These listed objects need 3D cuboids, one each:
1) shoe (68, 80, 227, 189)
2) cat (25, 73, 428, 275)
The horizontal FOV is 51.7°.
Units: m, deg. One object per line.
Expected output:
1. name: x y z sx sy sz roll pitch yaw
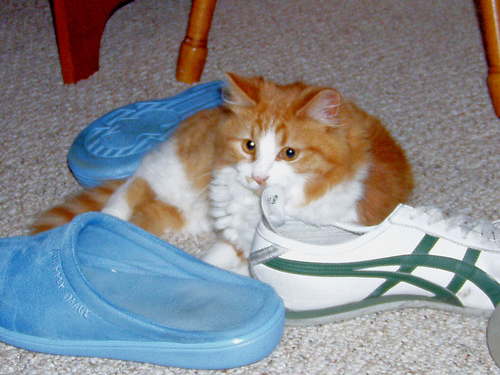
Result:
1. shoe: -0.231 -0.113 1.166 0.468 0.262 0.166 -26 112 -30
2. cat: -0.005 -0.023 1.109 0.448 0.230 0.757 26 25 26
